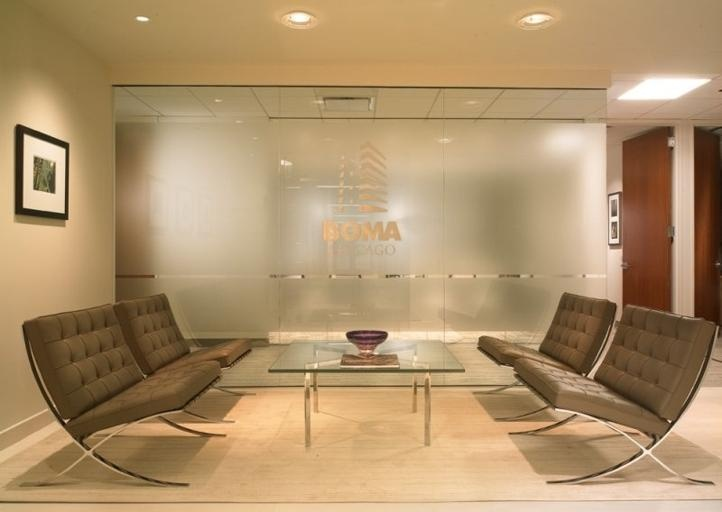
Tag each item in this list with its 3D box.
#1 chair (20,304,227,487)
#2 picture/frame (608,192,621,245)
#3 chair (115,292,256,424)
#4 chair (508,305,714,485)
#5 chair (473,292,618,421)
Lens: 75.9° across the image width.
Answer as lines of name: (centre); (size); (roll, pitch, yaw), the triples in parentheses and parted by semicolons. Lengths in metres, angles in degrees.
chair: (-2.001, 1.038, 3.932); (1.475, 1.292, 1.279); (2, 2, -1)
picture/frame: (4.374, -0.628, 7.967); (0.495, 0.812, 0.040); (-8, 7, -40)
chair: (-1.578, 0.894, 4.661); (1.256, 1.210, 1.120); (3, 2, 2)
chair: (1.963, 0.956, 3.867); (1.423, 1.205, 1.311); (-2, -2, -1)
chair: (1.794, 0.925, 4.528); (1.156, 0.999, 1.121); (-2, -2, 0)
